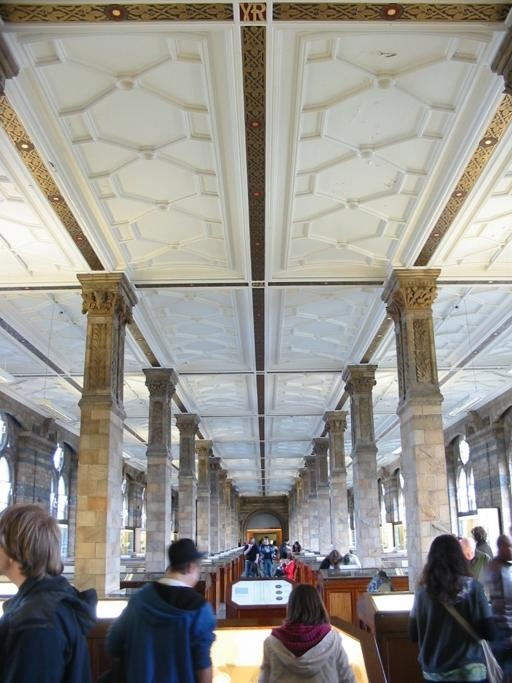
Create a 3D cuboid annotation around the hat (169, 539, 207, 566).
[{"bbox_3d":[-0.322,0.998,2.355,0.123,0.080,0.163,-5,1,17],"label":"hat"}]
